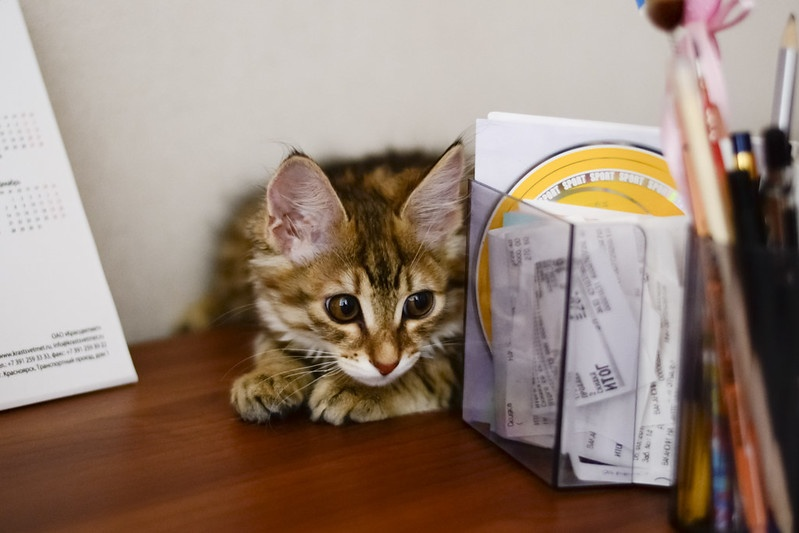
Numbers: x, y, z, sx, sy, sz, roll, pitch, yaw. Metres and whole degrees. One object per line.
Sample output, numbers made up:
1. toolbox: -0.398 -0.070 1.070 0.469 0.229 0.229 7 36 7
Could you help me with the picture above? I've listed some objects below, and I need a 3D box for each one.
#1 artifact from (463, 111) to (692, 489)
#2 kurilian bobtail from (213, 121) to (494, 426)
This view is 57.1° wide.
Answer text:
1. artifact: 0.235 0.041 1.028 0.310 0.494 0.255 2 18 21
2. kurilian bobtail: -0.056 -0.021 1.377 0.393 0.442 0.576 2 20 -2
